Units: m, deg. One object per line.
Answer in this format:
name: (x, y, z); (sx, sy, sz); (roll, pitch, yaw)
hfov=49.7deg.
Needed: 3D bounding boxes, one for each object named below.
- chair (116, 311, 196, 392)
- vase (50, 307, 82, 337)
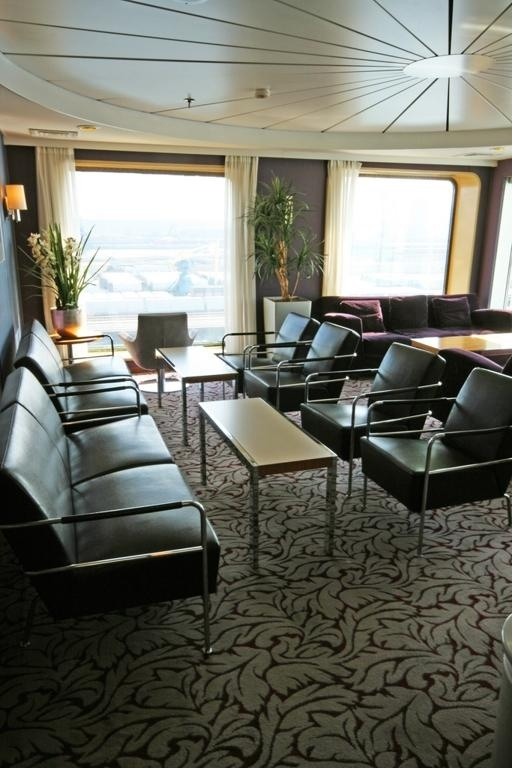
chair: (-0.976, -0.370, 5.456); (0.736, 0.746, 0.651); (-4, 19, -11)
vase: (-1.711, -0.564, 4.942); (0.243, 0.219, 0.261); (-1, 8, -9)
